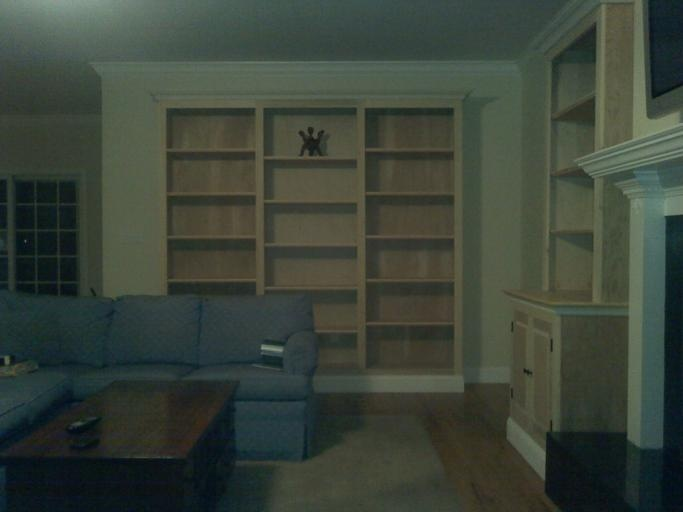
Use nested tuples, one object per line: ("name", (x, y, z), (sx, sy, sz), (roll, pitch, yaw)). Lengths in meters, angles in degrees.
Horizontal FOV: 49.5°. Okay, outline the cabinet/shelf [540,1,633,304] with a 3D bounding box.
("cabinet/shelf", (1.809, -0.761, 5.500), (0.554, 2.131, 1.051), (-1, 2, 12))
